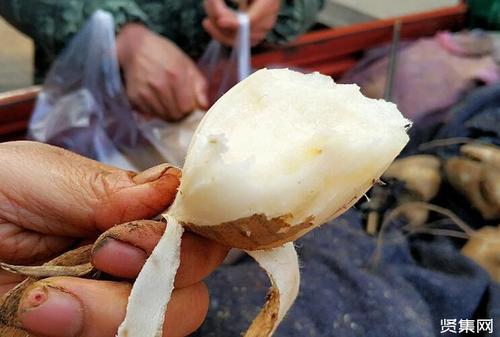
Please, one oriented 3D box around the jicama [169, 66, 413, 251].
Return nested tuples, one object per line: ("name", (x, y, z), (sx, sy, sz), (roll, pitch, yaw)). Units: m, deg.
("jicama", (0.070, -0.007, 0.977), (0.335, 0.188, 0.276), (20, 54, 15))
